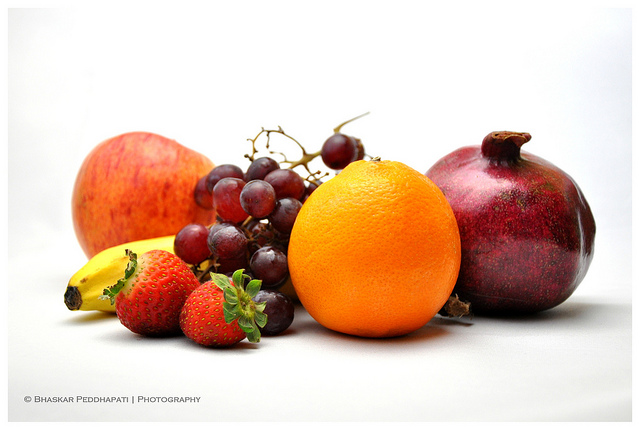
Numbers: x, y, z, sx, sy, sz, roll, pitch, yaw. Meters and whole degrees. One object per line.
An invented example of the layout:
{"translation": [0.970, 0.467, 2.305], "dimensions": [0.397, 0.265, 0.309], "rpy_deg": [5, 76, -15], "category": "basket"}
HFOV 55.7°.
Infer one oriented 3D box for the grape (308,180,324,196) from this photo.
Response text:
{"translation": [-0.021, -0.120, 2.561], "dimensions": [0.067, 0.078, 0.065], "rpy_deg": [3, 9, 7], "category": "grape"}
